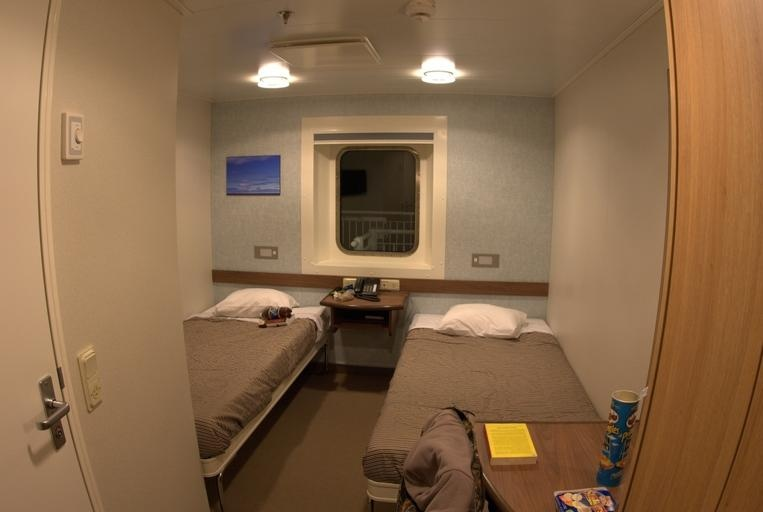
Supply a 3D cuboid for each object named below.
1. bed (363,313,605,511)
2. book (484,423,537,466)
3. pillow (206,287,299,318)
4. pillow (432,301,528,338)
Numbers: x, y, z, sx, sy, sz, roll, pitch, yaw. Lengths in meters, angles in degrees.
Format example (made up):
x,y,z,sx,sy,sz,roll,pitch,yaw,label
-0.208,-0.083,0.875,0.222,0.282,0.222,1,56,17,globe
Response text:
x,y,z,sx,sy,sz,roll,pitch,yaw,label
0.719,1.004,3.428,1.292,0.702,1.803,2,5,12,bed
0.553,0.798,2.129,0.210,0.090,0.231,1,4,2,book
-1.226,0.430,4.559,0.449,0.137,0.375,-1,11,6,pillow
0.822,0.538,4.143,0.400,0.119,0.380,1,15,21,pillow
